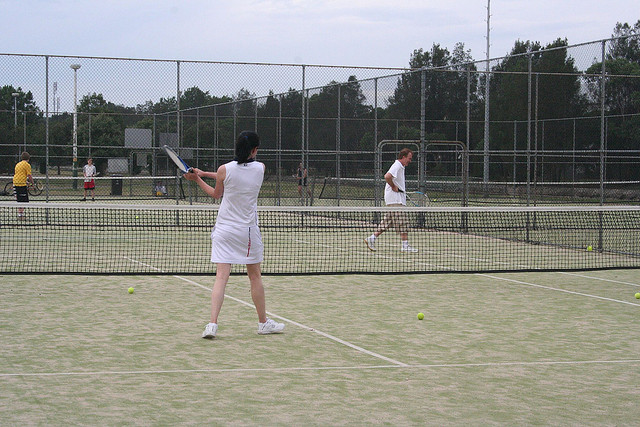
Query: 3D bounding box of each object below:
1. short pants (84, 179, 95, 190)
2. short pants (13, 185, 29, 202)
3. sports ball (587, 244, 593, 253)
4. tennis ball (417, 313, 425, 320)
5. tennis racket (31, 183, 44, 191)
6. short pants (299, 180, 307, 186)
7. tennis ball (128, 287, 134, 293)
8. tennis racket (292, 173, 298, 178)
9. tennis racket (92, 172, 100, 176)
[{"bbox_3d":[-7.776,-0.961,24.415,0.352,0.341,0.194,-1,-5,-7],"label":"short pants"},{"bbox_3d":[-7.767,-0.497,18.838,0.289,0.406,0.845,-3,8,-21],"label":"short pants"},{"bbox_3d":[5.348,0.708,14.450,0.082,0.082,0.107,-28,11,-10],"label":"sports ball"},{"bbox_3d":[1.237,1.271,8.985,0.070,0.067,0.069,2,-11,0],"label":"tennis ball"},{"bbox_3d":[-8.599,-0.797,22.036,0.351,0.165,0.332,3,1,-14],"label":"tennis racket"},{"bbox_3d":[-0.554,-0.907,22.116,0.171,0.201,0.401,-1,8,-7],"label":"short pants"},{"bbox_3d":[-2.627,1.065,10.065,0.051,0.051,0.066,-23,-9,39],"label":"tennis ball"},{"bbox_3d":[-0.783,-1.135,22.039,0.146,0.137,0.374,0,8,-5],"label":"tennis racket"},{"bbox_3d":[-6.948,-1.191,22.448,0.165,0.146,0.681,-3,8,-19],"label":"tennis racket"}]
